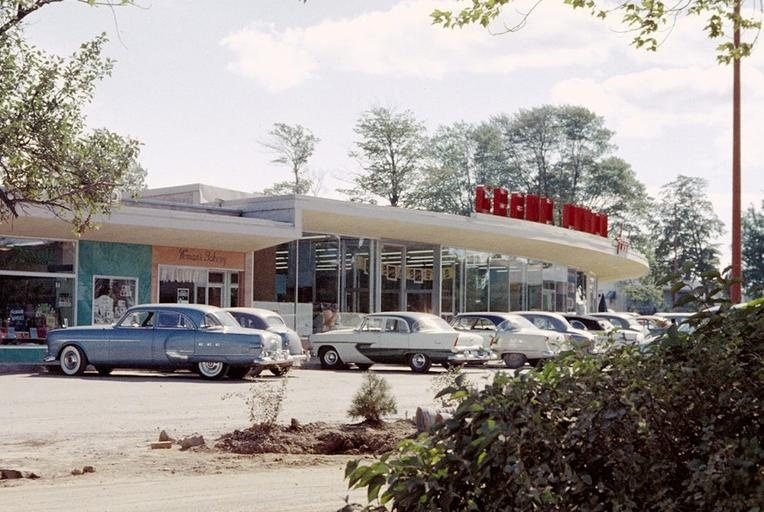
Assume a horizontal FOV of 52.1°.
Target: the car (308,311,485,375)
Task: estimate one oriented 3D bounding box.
[{"bbox_3d":[0.540,2.524,22.939,4.489,1.559,1.946,0,-5,24],"label":"car"}]
